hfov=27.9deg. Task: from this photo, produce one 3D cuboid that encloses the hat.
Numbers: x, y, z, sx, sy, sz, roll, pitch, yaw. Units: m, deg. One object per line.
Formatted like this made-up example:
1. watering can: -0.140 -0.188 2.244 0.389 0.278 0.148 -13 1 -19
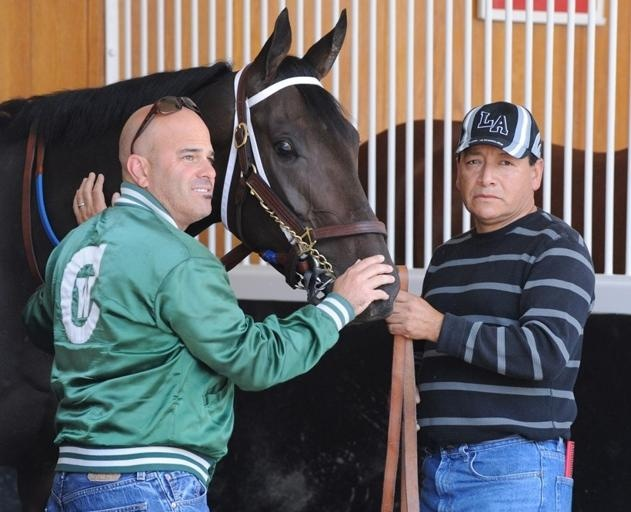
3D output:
1. hat: 0.588 -0.402 4.027 0.159 0.138 0.233 2 -10 31
